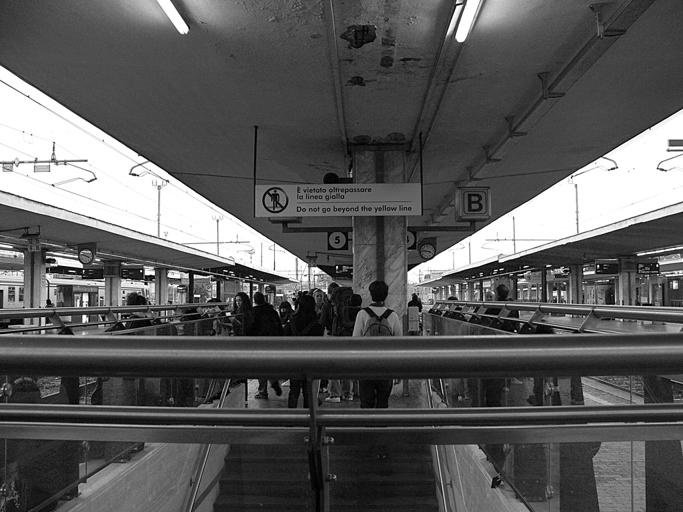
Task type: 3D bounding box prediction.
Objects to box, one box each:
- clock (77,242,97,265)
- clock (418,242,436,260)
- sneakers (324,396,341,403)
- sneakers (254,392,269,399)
[{"bbox_3d":[-7.004,-0.033,17.054,0.462,0.652,0.206,-1,0,-3],"label":"clock"},{"bbox_3d":[2.659,-0.149,19.071,0.492,0.451,0.738,-4,-7,17],"label":"clock"},{"bbox_3d":[-0.140,2.384,10.102,0.097,0.125,0.284,6,-8,-40],"label":"sneakers"},{"bbox_3d":[-1.400,2.457,10.709,0.250,0.158,0.087,2,-2,19],"label":"sneakers"}]
